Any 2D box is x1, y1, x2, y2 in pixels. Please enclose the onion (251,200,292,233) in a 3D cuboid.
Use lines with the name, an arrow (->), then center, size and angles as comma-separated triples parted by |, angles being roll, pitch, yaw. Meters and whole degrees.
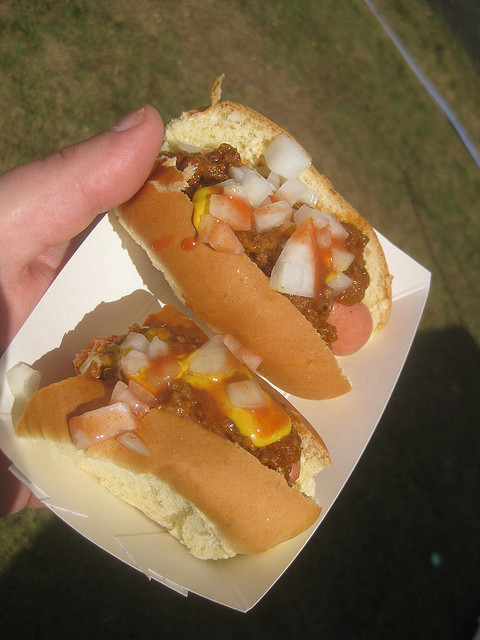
onion -> 0.147, -0.505, 3.024 | 0.220, 0.077, 0.106 | -27, 87, -10

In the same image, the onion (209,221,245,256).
onion -> -0.070, -0.373, 2.948 | 0.110, 0.109, 0.202 | -39, 81, -17

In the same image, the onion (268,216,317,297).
onion -> 0.284, -0.307, 2.933 | 0.216, 0.157, 0.352 | 10, 70, -5

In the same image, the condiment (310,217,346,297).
condiment -> 0.406, -0.286, 2.962 | 0.233, 0.089, 0.330 | 7, 92, -38

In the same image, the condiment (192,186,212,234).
condiment -> -0.194, -0.552, 2.995 | 0.079, 0.113, 0.198 | -5, 89, -6

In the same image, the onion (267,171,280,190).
onion -> 0.174, -0.733, 3.216 | 0.068, 0.027, 0.103 | -11, 99, 5

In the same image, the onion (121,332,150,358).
onion -> -0.521, 0.136, 3.070 | 0.127, 0.037, 0.117 | 27, 77, 24

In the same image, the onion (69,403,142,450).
onion -> -0.643, 0.498, 2.875 | 0.351, 0.088, 0.169 | -17, 78, -9

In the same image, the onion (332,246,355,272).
onion -> 0.511, -0.301, 3.008 | 0.125, 0.037, 0.110 | 15, 86, -31

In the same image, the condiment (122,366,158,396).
condiment -> -0.473, 0.290, 2.923 | 0.172, 0.040, 0.096 | 40, 83, 2

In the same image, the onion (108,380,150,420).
onion -> -0.522, 0.376, 3.001 | 0.232, 0.185, 0.143 | -11, 108, -35

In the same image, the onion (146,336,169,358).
onion -> -0.402, 0.136, 2.994 | 0.105, 0.039, 0.101 | -7, 88, -9

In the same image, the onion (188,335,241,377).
onion -> -0.117, 0.177, 2.923 | 0.179, 0.058, 0.195 | 46, 60, 3
